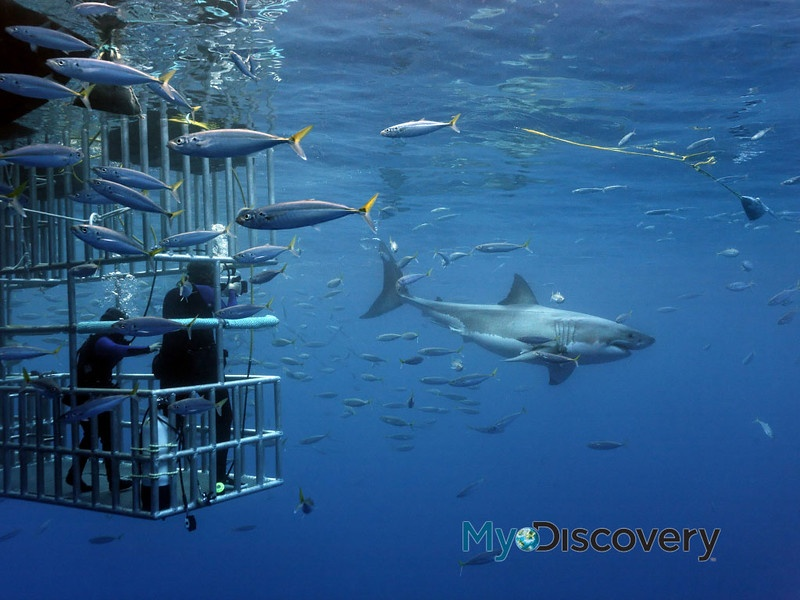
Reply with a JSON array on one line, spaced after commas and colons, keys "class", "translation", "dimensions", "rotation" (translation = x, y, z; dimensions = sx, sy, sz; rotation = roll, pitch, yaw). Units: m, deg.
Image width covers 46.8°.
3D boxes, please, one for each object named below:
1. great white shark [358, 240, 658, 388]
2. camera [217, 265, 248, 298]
[{"class": "great white shark", "translation": [2.755, 0.377, 25.053], "dimensions": [8.543, 1.970, 2.672], "rotation": [8, 14, 33]}, {"class": "camera", "translation": [-3.594, -0.375, 20.256], "dimensions": [0.981, 0.551, 0.357], "rotation": [5, -12, -37]}]
